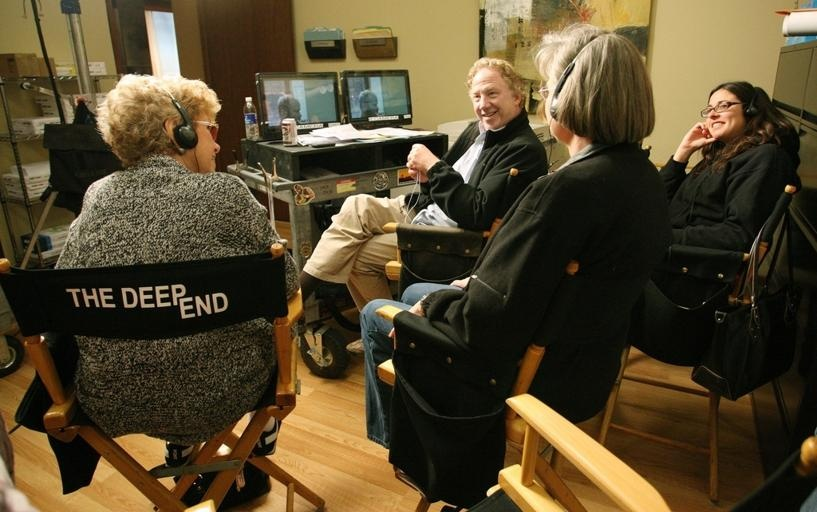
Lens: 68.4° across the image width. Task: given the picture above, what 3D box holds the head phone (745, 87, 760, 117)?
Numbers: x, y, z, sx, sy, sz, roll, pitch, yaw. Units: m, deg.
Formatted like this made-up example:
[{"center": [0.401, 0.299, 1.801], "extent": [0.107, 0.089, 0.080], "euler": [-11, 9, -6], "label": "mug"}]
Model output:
[{"center": [1.842, -0.821, 3.205], "extent": [0.052, 0.120, 0.142], "euler": [6, 14, 26], "label": "head phone"}]

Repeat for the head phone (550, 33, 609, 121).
[{"center": [0.611, -0.692, 2.306], "extent": [0.080, 0.306, 0.226], "euler": [33, 24, 17], "label": "head phone"}]

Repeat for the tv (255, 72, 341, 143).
[{"center": [-0.708, -0.950, 3.831], "extent": [0.503, 0.332, 0.053], "euler": [-14, 21, -42], "label": "tv"}]

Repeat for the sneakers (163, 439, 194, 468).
[{"center": [-1.037, 0.879, 2.757], "extent": [0.091, 0.093, 0.220], "euler": [1, 8, -3], "label": "sneakers"}]

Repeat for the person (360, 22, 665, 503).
[{"center": [0.456, 0.068, 2.373], "extent": [1.084, 1.868, 0.433], "euler": [-6, 19, -20], "label": "person"}]

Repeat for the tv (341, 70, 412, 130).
[{"center": [-0.237, -1.085, 4.144], "extent": [0.484, 0.332, 0.063], "euler": [-10, 15, -34], "label": "tv"}]

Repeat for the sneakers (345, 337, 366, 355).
[{"center": [-0.306, 0.529, 3.566], "extent": [0.105, 0.069, 0.170], "euler": [1, -1, 5], "label": "sneakers"}]

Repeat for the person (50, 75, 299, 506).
[{"center": [-0.932, 0.283, 2.513], "extent": [0.887, 1.984, 0.556], "euler": [-3, 18, -12], "label": "person"}]
